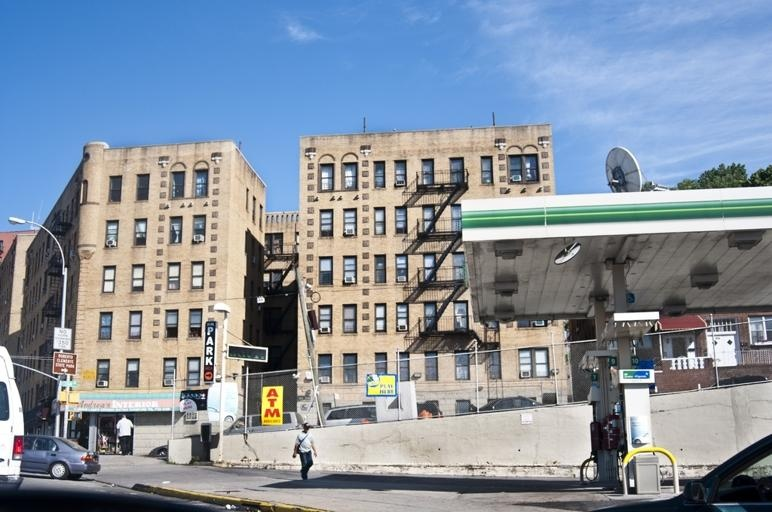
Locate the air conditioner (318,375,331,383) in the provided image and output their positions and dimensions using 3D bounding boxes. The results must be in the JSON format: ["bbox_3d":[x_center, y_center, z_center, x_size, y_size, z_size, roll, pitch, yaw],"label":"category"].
[{"bbox_3d":[-3.354,6.891,62.561,0.809,0.527,0.446,-2,-23,7],"label":"air conditioner"}]

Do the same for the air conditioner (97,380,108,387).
[{"bbox_3d":[-19.904,8.954,78.015,0.677,0.423,0.456,0,-1,3],"label":"air conditioner"}]

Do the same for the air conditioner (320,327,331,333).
[{"bbox_3d":[-4.162,5.315,77.848,0.760,0.444,0.392,0,-12,1],"label":"air conditioner"}]

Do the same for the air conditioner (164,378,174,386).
[{"bbox_3d":[-15.092,8.792,77.612,0.440,0.546,0.903,9,-19,-38],"label":"air conditioner"}]

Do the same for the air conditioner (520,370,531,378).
[{"bbox_3d":[7.954,6.709,63.155,0.560,0.345,0.575,0,-11,2],"label":"air conditioner"}]

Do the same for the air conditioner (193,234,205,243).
[{"bbox_3d":[-13.339,-1.242,79.539,0.947,0.742,0.491,0,-3,4],"label":"air conditioner"}]

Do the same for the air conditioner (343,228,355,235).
[{"bbox_3d":[-2.512,-1.708,78.599,0.901,0.564,0.441,0,-14,0],"label":"air conditioner"}]

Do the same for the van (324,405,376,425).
[{"bbox_3d":[-1.840,8.440,59.456,2.899,1.017,0.803,-7,-16,17],"label":"van"}]

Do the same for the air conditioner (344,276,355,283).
[{"bbox_3d":[-2.485,1.648,78.205,0.868,0.485,0.426,-1,-14,2],"label":"air conditioner"}]

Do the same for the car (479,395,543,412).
[{"bbox_3d":[6.539,7.900,57.864,2.554,0.768,1.107,-6,-6,1],"label":"car"}]

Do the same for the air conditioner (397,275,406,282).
[{"bbox_3d":[1.163,1.631,77.823,0.808,0.477,0.416,0,-14,2],"label":"air conditioner"}]

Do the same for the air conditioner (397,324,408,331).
[{"bbox_3d":[1.196,4.938,76.677,0.834,0.497,0.414,-2,-14,9],"label":"air conditioner"}]

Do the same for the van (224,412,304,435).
[{"bbox_3d":[-6.484,8.894,59.350,3.908,1.137,1.600,-3,-15,0],"label":"van"}]
